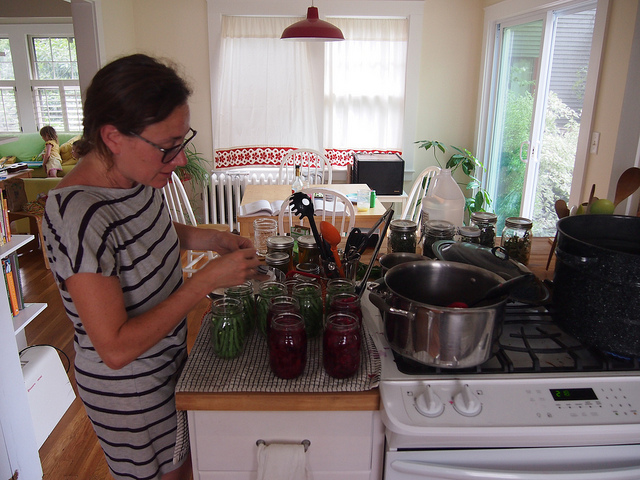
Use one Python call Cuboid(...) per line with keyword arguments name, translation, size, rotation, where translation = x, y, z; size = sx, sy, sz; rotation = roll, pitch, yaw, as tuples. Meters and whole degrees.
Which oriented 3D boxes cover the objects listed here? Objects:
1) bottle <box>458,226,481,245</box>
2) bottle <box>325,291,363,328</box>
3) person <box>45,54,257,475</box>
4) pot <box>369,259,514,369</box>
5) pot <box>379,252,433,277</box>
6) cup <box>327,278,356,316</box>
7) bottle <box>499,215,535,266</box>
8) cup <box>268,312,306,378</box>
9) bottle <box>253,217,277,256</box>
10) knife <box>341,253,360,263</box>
Cuboid(name="bottle", translation=(0.585, -0.019, 1.788), size=(0.073, 0.081, 0.076), rotation=(-1, 25, 4))
Cuboid(name="bottle", translation=(0.074, 0.190, 1.320), size=(0.091, 0.091, 0.094), rotation=(0, 17, -1))
Cuboid(name="person", translation=(-0.523, 0.153, 1.375), size=(0.455, 1.323, 0.493), rotation=(-11, 19, -28))
Cuboid(name="pot", translation=(0.352, 0.222, 1.348), size=(0.363, 0.237, 0.307), rotation=(6, 19, 21))
Cuboid(name="pot", translation=(0.272, 0.070, 1.600), size=(0.100, 0.082, 0.113), rotation=(-2, 14, -11))
Cuboid(name="cup", translation=(0.062, 0.171, 1.355), size=(0.076, 0.120, 0.070), rotation=(0, 20, 0))
Cuboid(name="bottle", translation=(0.795, 0.011, 1.844), size=(0.112, 0.182, 0.114), rotation=(-6, 20, 2))
Cuboid(name="cup", translation=(-0.089, 0.297, 1.298), size=(0.112, 0.177, 0.109), rotation=(1, 16, 0))
Cuboid(name="bottle", translation=(-0.248, -0.013, 2.060), size=(0.140, 0.193, 0.131), rotation=(2, 17, -1))
Cuboid(name="knife", translation=(0.106, 0.058, 1.553), size=(0.082, 0.022, 0.011), rotation=(-26, 5, -38))
